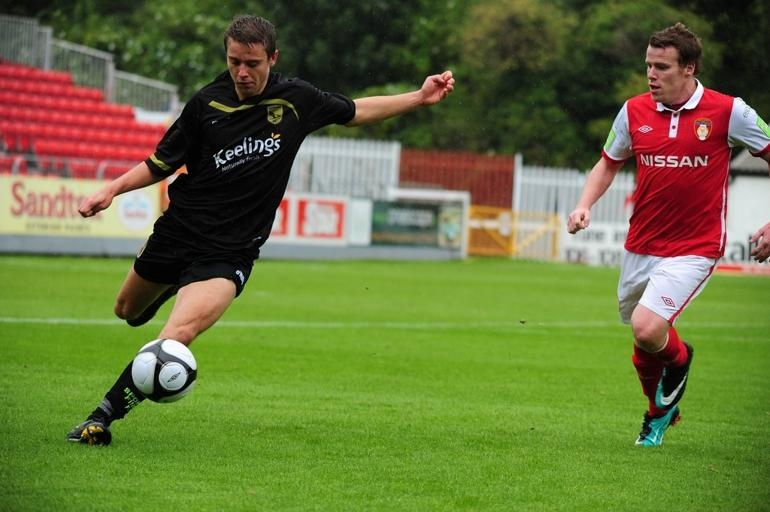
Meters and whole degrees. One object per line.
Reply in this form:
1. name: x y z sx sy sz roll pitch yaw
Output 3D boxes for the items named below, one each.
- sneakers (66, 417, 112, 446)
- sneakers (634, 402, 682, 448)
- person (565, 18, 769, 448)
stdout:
1. sneakers: -2.434 1.464 9.193 0.334 0.198 0.163 -11 40 10
2. sneakers: 2.446 1.520 9.867 0.122 0.335 0.153 37 3 43
3. person: 2.528 -0.603 9.754 1.510 2.887 0.701 6 8 16
